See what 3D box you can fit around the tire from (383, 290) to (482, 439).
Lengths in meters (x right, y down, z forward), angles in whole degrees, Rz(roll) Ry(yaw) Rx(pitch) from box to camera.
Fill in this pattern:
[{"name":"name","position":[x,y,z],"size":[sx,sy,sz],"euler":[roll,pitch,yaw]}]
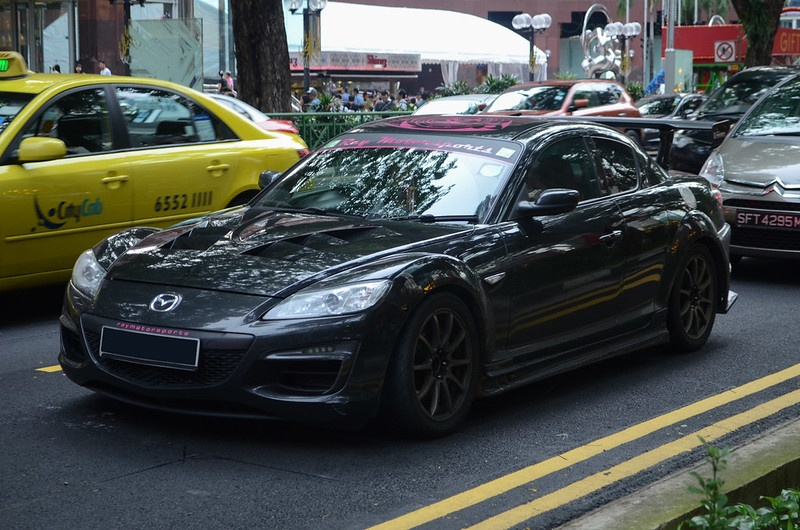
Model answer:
[{"name":"tire","position":[0.167,0.568,3.696],"size":[0.278,0.741,0.780],"euler":[1,19,35]}]

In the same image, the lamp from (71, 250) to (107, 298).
[{"name":"lamp","position":[-1.975,0.064,4.149],"size":[0.233,0.361,0.110],"euler":[-3,-26,32]}]

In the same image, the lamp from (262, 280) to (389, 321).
[{"name":"lamp","position":[-0.393,0.191,3.460],"size":[0.685,0.197,0.100],"euler":[0,8,-9]}]

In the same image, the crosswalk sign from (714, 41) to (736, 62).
[{"name":"crosswalk sign","position":[22.353,-14.784,43.261],"size":[1.631,1.540,0.178],"euler":[2,4,29]}]
